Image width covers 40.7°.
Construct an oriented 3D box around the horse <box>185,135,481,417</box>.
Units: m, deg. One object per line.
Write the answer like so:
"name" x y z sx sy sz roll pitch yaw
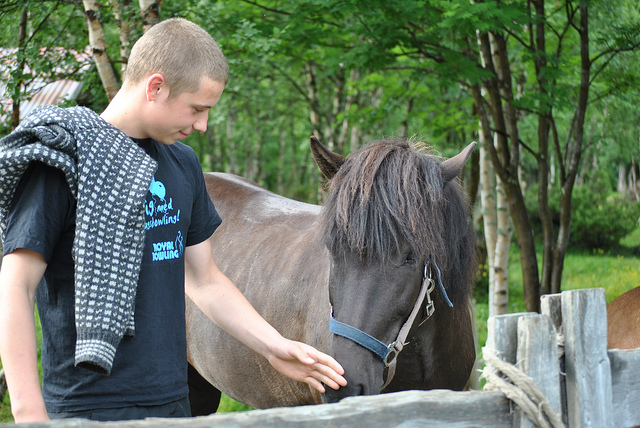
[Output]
"horse" 0.055 0.576 7.596 1.631 2.395 3.150 0 -7 -36
